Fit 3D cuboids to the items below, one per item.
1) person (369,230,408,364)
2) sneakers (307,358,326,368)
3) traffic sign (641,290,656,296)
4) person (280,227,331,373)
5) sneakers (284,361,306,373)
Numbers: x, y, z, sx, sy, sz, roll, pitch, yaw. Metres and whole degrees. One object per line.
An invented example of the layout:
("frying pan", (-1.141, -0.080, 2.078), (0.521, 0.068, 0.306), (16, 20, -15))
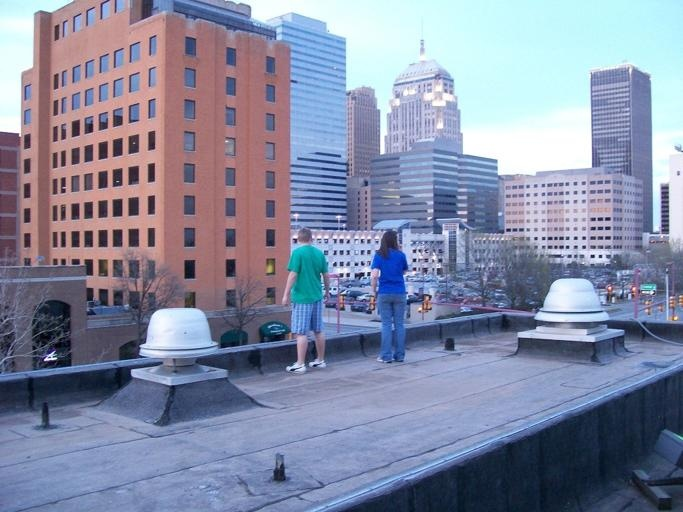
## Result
("person", (0.748, 0.618, 10.262), (0.565, 2.043, 0.430), (-3, -2, 0))
("sneakers", (-0.391, 1.589, 9.871), (0.240, 0.107, 0.110), (3, -1, 9))
("traffic sign", (38.534, 4.650, 83.665), (2.066, 0.699, 2.117), (-2, -2, 45))
("person", (-0.534, 0.617, 9.701), (0.680, 2.105, 1.404), (-3, -2, -3))
("sneakers", (-0.669, 1.605, 9.580), (0.301, 0.141, 0.371), (-2, -2, -4))
